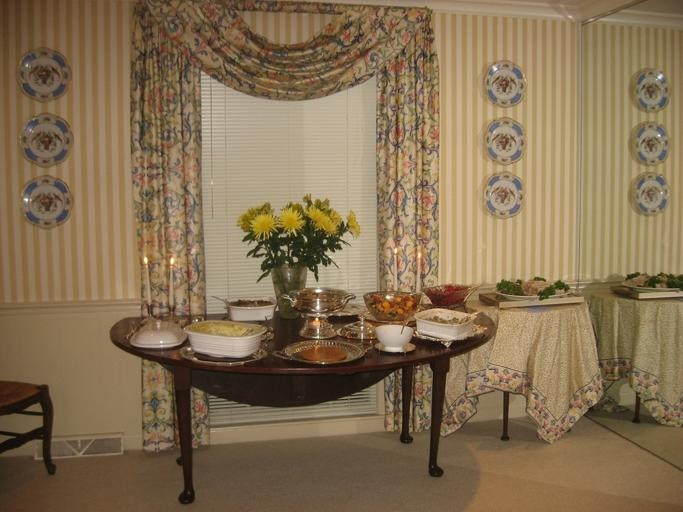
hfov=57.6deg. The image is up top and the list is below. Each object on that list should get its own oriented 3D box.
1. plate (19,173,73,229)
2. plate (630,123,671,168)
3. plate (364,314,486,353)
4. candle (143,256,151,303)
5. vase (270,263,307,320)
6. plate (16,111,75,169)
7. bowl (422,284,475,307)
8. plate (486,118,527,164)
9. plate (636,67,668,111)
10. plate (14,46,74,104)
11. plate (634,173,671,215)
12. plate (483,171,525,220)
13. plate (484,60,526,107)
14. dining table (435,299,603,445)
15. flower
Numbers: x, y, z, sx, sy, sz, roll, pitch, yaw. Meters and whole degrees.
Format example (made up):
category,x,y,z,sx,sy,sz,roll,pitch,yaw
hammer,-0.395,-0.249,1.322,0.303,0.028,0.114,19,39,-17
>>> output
category,x,y,z,sx,sy,sz,roll,pitch,yaw
plate,-2.344,-0.432,4.951,0.416,0.420,0.418,-2,-13,-31
plate,2.448,-0.893,4.941,0.051,0.352,0.341,-4,6,-20
plate,0.551,0.506,4.216,0.883,0.176,0.602,-1,5,9
candle,-1.538,0.223,4.917,0.055,0.311,0.040,-6,7,-31
vase,-0.358,0.251,4.670,0.291,0.412,0.297,7,-2,2
plate,-2.313,-0.905,4.886,0.391,0.407,0.034,-2,6,-4
bowl,0.823,0.299,4.731,0.292,0.098,0.185,1,-2,-19
plate,1.441,-1.003,5.456,0.369,0.389,0.064,-3,3,-9
plate,2.457,-1.328,4.955,0.067,0.290,0.280,-7,24,-31
plate,-2.316,-1.414,4.860,0.392,0.406,0.028,-3,6,-7
plate,2.459,-0.492,4.958,0.058,0.330,0.326,-4,6,-19
plate,1.434,-0.533,5.488,0.376,0.398,0.066,-4,6,-18
plate,1.428,-1.491,5.421,0.377,0.392,0.062,4,5,-14
dining table,1.445,0.956,5.291,1.267,0.987,1.020,1,0,14
flower,-0.361,0.039,4.723,0.957,0.970,0.756,-1,1,20
